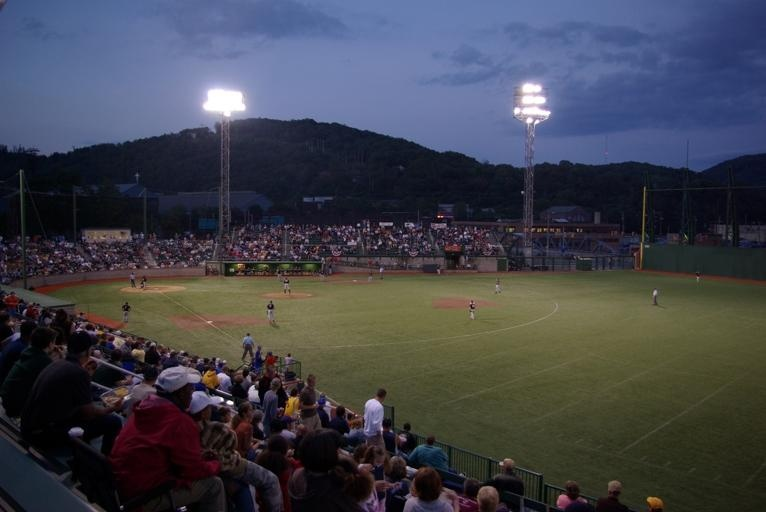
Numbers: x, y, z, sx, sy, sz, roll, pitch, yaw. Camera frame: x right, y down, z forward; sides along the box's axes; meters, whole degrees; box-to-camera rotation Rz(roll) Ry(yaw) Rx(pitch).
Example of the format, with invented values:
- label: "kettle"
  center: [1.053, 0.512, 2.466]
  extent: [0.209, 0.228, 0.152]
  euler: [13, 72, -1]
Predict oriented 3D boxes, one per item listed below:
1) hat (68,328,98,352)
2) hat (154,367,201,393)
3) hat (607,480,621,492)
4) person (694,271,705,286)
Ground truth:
- label: "hat"
  center: [-7.610, 2.110, 17.748]
  extent: [0.499, 0.349, 0.664]
  euler: [1, 24, -9]
- label: "hat"
  center: [-4.771, 2.856, 16.473]
  extent: [0.851, 0.265, 0.529]
  euler: [-11, 31, -39]
- label: "hat"
  center: [6.572, 6.507, 19.908]
  extent: [0.311, 0.287, 0.515]
  euler: [0, 2, 14]
- label: "person"
  center: [30.421, 2.276, 67.456]
  extent: [1.191, 1.233, 0.417]
  euler: [0, 0, -3]
